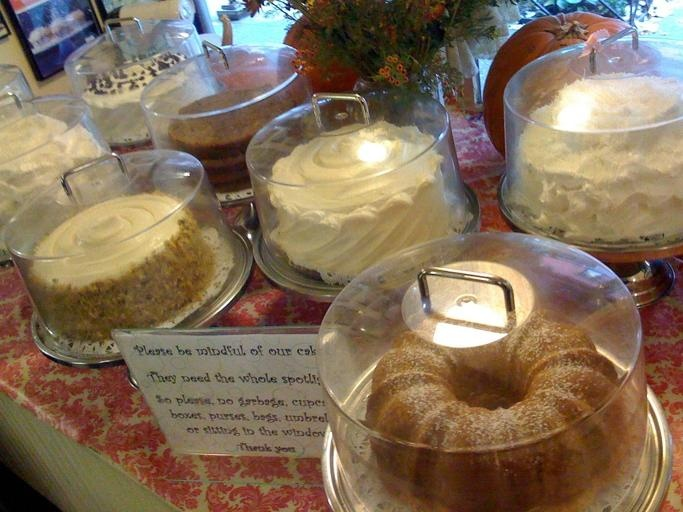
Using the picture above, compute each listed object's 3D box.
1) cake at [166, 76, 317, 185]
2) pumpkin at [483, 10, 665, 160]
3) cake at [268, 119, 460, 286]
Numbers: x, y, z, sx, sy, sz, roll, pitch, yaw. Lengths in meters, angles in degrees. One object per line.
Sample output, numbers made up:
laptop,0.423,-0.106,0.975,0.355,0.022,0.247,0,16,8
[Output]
cake,-0.254,-0.327,1.328,0.333,0.235,0.319,-23,36,-34
pumpkin,0.420,-0.367,1.080,0.311,0.256,0.305,12,35,19
cake,0.021,-0.087,0.998,0.336,0.245,0.367,-1,30,4
